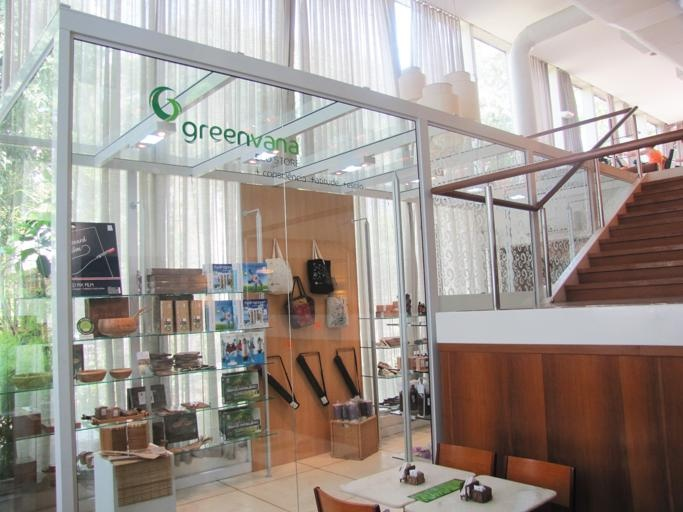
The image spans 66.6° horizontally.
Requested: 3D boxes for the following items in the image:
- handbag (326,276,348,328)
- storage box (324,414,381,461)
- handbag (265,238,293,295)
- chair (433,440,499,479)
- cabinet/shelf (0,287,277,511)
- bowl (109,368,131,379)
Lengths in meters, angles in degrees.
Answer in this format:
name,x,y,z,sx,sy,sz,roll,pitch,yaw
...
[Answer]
name,x,y,z,sx,sy,sz,roll,pitch,yaw
handbag,-0.053,0.407,4.543,0.232,0.441,0.054,0,-8,-44
storage box,0.099,1.588,4.513,0.429,0.380,0.436,-3,-5,37
handbag,-0.524,0.092,4.267,0.210,0.447,0.051,-1,-7,-39
chair,0.963,1.690,4.076,0.506,0.355,0.196,-7,-13,41
cabinet/shelf,-1.461,1.048,3.673,1.971,1.539,0.611,-1,1,-35
bowl,-1.506,0.802,3.534,0.089,0.039,0.084,-1,-9,0
